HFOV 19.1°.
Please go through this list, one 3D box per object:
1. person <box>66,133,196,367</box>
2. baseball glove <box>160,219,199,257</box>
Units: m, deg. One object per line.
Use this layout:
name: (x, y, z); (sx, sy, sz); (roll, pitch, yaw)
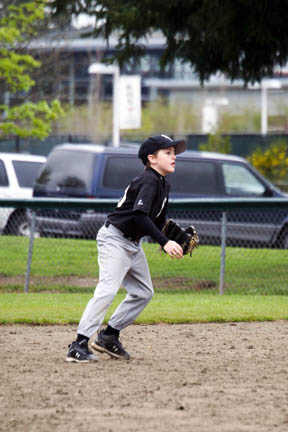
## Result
person: (-0.109, 0.236, 6.129); (0.844, 1.629, 0.529); (1, 4, 2)
baseball glove: (0.287, 0.155, 6.280); (0.199, 0.127, 0.274); (20, -13, -36)
